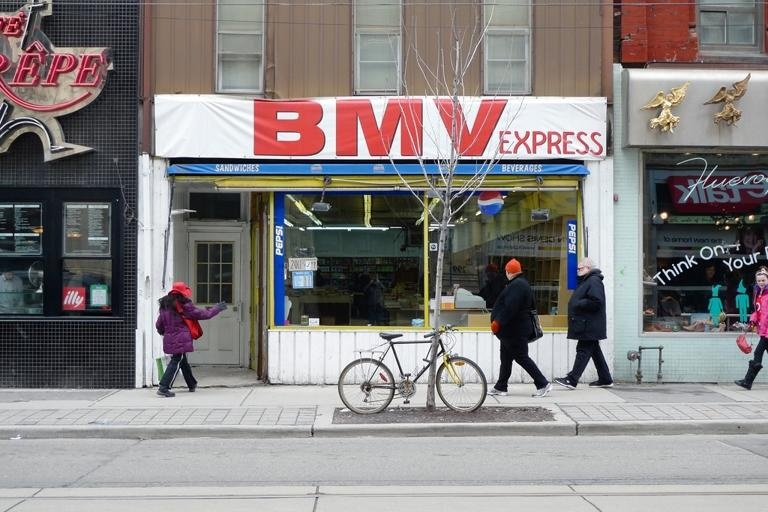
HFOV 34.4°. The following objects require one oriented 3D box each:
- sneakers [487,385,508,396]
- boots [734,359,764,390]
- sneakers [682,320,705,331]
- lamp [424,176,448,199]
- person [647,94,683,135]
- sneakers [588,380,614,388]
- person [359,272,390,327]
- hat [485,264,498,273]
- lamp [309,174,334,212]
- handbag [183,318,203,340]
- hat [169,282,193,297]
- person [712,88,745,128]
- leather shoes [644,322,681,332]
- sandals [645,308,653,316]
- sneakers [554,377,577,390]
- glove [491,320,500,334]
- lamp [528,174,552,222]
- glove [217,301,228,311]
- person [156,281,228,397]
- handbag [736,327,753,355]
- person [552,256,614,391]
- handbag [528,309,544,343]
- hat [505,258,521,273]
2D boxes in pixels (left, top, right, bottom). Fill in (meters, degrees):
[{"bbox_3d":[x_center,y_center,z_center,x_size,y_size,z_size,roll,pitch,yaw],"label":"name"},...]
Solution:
[{"bbox_3d":[2.182,2.556,23.606,0.404,0.170,0.153,5,-4,7],"label":"sneakers"},{"bbox_3d":[7.045,2.258,23.868,0.267,0.575,0.547,0,0,-31],"label":"boots"},{"bbox_3d":[6.232,1.380,24.817,0.300,0.147,0.227,-1,2,17],"label":"sneakers"},{"bbox_3d":[1.041,-1.374,24.178,0.502,0.450,0.333,0,-2,11],"label":"lamp"},{"bbox_3d":[5.486,-2.822,24.298,0.833,0.930,0.402,-1,5,-26],"label":"person"},{"bbox_3d":[4.215,2.443,23.963,0.456,0.178,0.160,3,-3,6],"label":"sneakers"},{"bbox_3d":[-0.168,0.836,24.624,0.524,0.974,0.118,0,0,1],"label":"person"},{"bbox_3d":[2.176,0.222,24.791,0.184,0.180,0.149,-5,3,2],"label":"hat"},{"bbox_3d":[-1.215,-1.232,24.475,0.402,0.655,0.399,0,0,-4],"label":"lamp"},{"bbox_3d":[-3.602,1.416,23.663,0.293,0.396,0.144,30,54,20],"label":"handbag"},{"bbox_3d":[-3.821,0.613,23.689,0.314,0.182,0.387,4,-7,3],"label":"hat"},{"bbox_3d":[6.763,-2.963,24.332,0.811,0.949,0.351,-2,1,-12],"label":"person"},{"bbox_3d":[5.576,1.380,24.738,0.733,0.204,0.079,0,0,-9],"label":"leather shoes"},{"bbox_3d":[5.301,1.096,24.748,0.214,0.134,0.026,0,0,-14],"label":"sandals"},{"bbox_3d":[3.510,2.433,23.793,0.524,0.217,0.171,16,-7,4],"label":"sneakers"},{"bbox_3d":[2.097,1.325,23.306,0.183,0.214,0.242,-1,-5,37],"label":"glove"},{"bbox_3d":[3.125,-1.157,24.628,0.374,0.854,0.435,1,0,6],"label":"lamp"},{"bbox_3d":[-3.053,0.942,23.543,0.274,0.147,0.304,-3,-2,-6],"label":"glove"},{"bbox_3d":[-3.807,1.564,23.600,1.007,1.932,0.638,0,0,-12],"label":"person"},{"bbox_3d":[7.057,1.658,24.216,0.296,0.709,0.572,-7,-4,18],"label":"handbag"},{"bbox_3d":[3.872,1.287,23.754,1.025,2.438,0.571,0,0,-4],"label":"person"},{"bbox_3d":[2.899,1.345,23.653,0.333,0.639,0.701,-6,-3,2],"label":"handbag"},{"bbox_3d":[2.472,0.182,23.525,0.231,0.211,0.298,0,7,-4],"label":"hat"}]
